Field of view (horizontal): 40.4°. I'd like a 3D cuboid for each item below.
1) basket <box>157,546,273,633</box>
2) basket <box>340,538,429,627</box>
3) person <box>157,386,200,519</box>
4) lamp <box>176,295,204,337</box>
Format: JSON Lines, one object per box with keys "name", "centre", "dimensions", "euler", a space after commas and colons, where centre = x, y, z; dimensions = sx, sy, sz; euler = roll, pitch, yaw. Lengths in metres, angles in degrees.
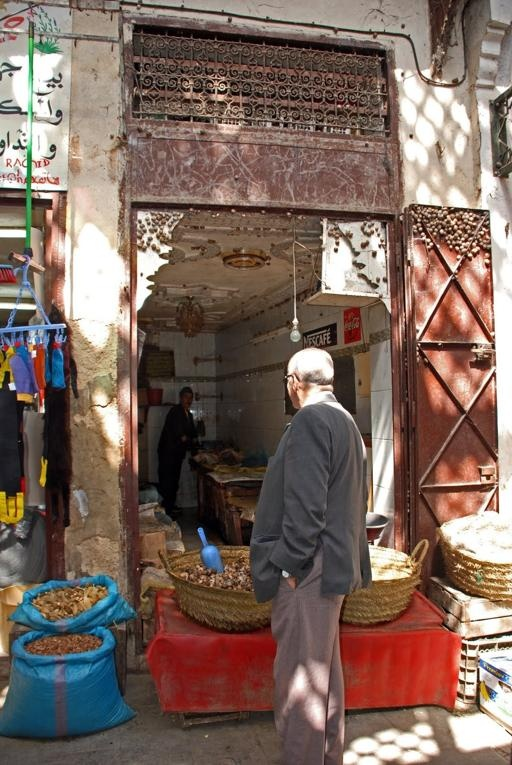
{"name": "basket", "centre": [-0.199, 1.150, 3.870], "dimensions": [0.557, 0.228, 0.437], "euler": [11, -11, -38]}
{"name": "basket", "centre": [0.759, 1.135, 4.072], "dimensions": [0.439, 0.320, 0.460], "euler": [-1, -8, 13]}
{"name": "person", "centre": [-1.130, 0.973, 9.953], "dimensions": [0.541, 1.810, 0.722], "euler": [2, 2, -5]}
{"name": "lamp", "centre": [-0.792, -0.779, 8.192], "dimensions": [0.274, 0.446, 0.370], "euler": [2, 2, -18]}
